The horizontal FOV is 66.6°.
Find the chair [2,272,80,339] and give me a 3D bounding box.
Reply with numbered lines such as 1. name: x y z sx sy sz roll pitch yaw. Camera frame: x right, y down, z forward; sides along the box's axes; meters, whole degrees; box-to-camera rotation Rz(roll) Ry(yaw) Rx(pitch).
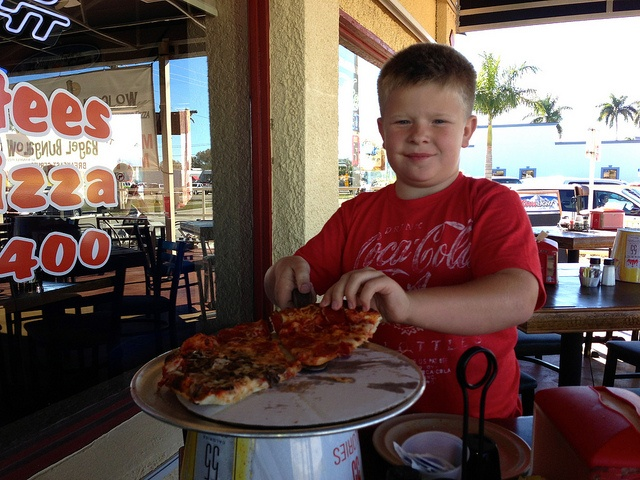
1. chair: -1.236 0.271 2.119 0.180 0.144 0.295 7 12 16

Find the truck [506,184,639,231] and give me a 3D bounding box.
1. truck: 5.230 -0.681 9.747 2.154 1.125 1.320 -6 13 -11

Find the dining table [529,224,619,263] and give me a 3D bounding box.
1. dining table: 2.619 0.011 4.936 0.560 0.574 0.561 -2 9 -14

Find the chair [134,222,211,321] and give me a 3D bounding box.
1. chair: -0.827 0.137 2.740 0.427 0.665 0.356 -7 14 -33

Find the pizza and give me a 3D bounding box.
1. pizza: -0.217 0.329 1.698 0.731 0.187 0.519 -4 10 -36

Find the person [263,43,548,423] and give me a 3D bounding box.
1. person: 0.361 -0.024 1.908 0.972 1.518 0.798 7 9 33
